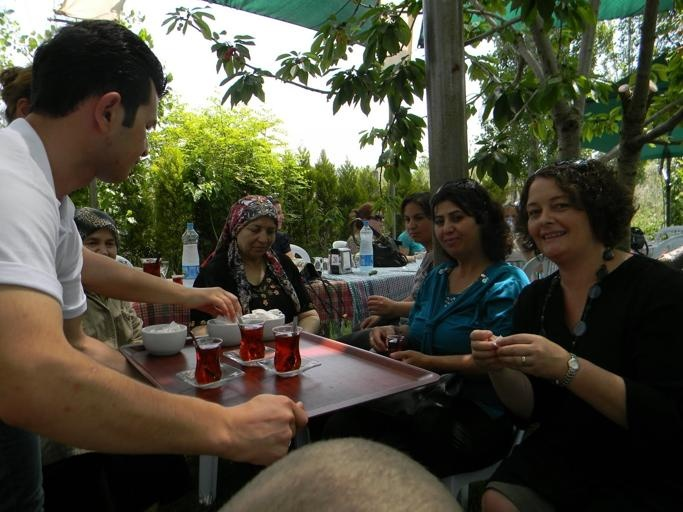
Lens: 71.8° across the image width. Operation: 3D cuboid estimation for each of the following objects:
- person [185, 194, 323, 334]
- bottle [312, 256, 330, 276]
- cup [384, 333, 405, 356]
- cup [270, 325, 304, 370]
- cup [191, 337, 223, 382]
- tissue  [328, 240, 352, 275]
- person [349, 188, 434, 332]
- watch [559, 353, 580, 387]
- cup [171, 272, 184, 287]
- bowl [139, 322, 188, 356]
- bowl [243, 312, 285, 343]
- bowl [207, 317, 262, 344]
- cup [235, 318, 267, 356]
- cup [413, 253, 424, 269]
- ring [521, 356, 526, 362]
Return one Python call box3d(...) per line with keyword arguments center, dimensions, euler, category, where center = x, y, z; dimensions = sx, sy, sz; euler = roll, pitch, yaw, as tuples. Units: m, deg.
box3d(center=(-0.561, 0.084, 3.357), dimensions=(0.974, 0.957, 0.800), euler=(-4, 4, -44), category="person")
box3d(center=(-0.181, 0.120, 5.019), dimensions=(0.210, 0.228, 0.135), euler=(-4, 8, -17), category="bottle")
box3d(center=(0.292, 0.488, 2.562), dimensions=(0.098, 0.110, 0.104), euler=(0, -4, 0), category="cup")
box3d(center=(-0.214, 0.381, 1.887), dimensions=(0.113, 0.170, 0.114), euler=(0, 3, 0), category="cup")
box3d(center=(-0.500, 0.409, 1.795), dimensions=(0.113, 0.158, 0.117), euler=(-1, 3, 0), category="cup")
box3d(center=(-0.058, 0.070, 4.810), dimensions=(0.191, 0.286, 0.201), euler=(2, -6, -28), category="tissue ")
box3d(center=(0.548, 0.124, 3.690), dimensions=(0.851, 1.152, 0.740), euler=(-6, 4, 9), category="person")
box3d(center=(0.790, 0.404, 1.637), dimensions=(0.062, 0.109, 0.028), euler=(0, 3, 23), category="watch")
box3d(center=(-1.169, 0.173, 3.367), dimensions=(0.079, 0.074, 0.088), euler=(-1, 8, -28), category="cup")
box3d(center=(-0.815, 0.414, 2.179), dimensions=(0.209, 0.129, 0.209), euler=(-9, -13, -2), category="bowl")
box3d(center=(-0.360, 0.338, 2.279), dimensions=(0.163, 0.075, 0.146), euler=(2, -2, -35), category="bowl")
box3d(center=(-0.525, 0.354, 2.274), dimensions=(0.216, 0.086, 0.159), euler=(5, -4, -26), category="bowl")
box3d(center=(-0.387, 0.373, 2.044), dimensions=(0.111, 0.161, 0.115), euler=(-2, 0, 0), category="cup")
box3d(center=(0.839, 0.063, 5.127), dimensions=(0.155, 0.181, 0.158), euler=(-1, 9, 0), category="cup")
box3d(center=(0.640, 0.367, 1.660), dimensions=(0.013, 0.019, 0.003), euler=(0, 3, 21), category="ring")
